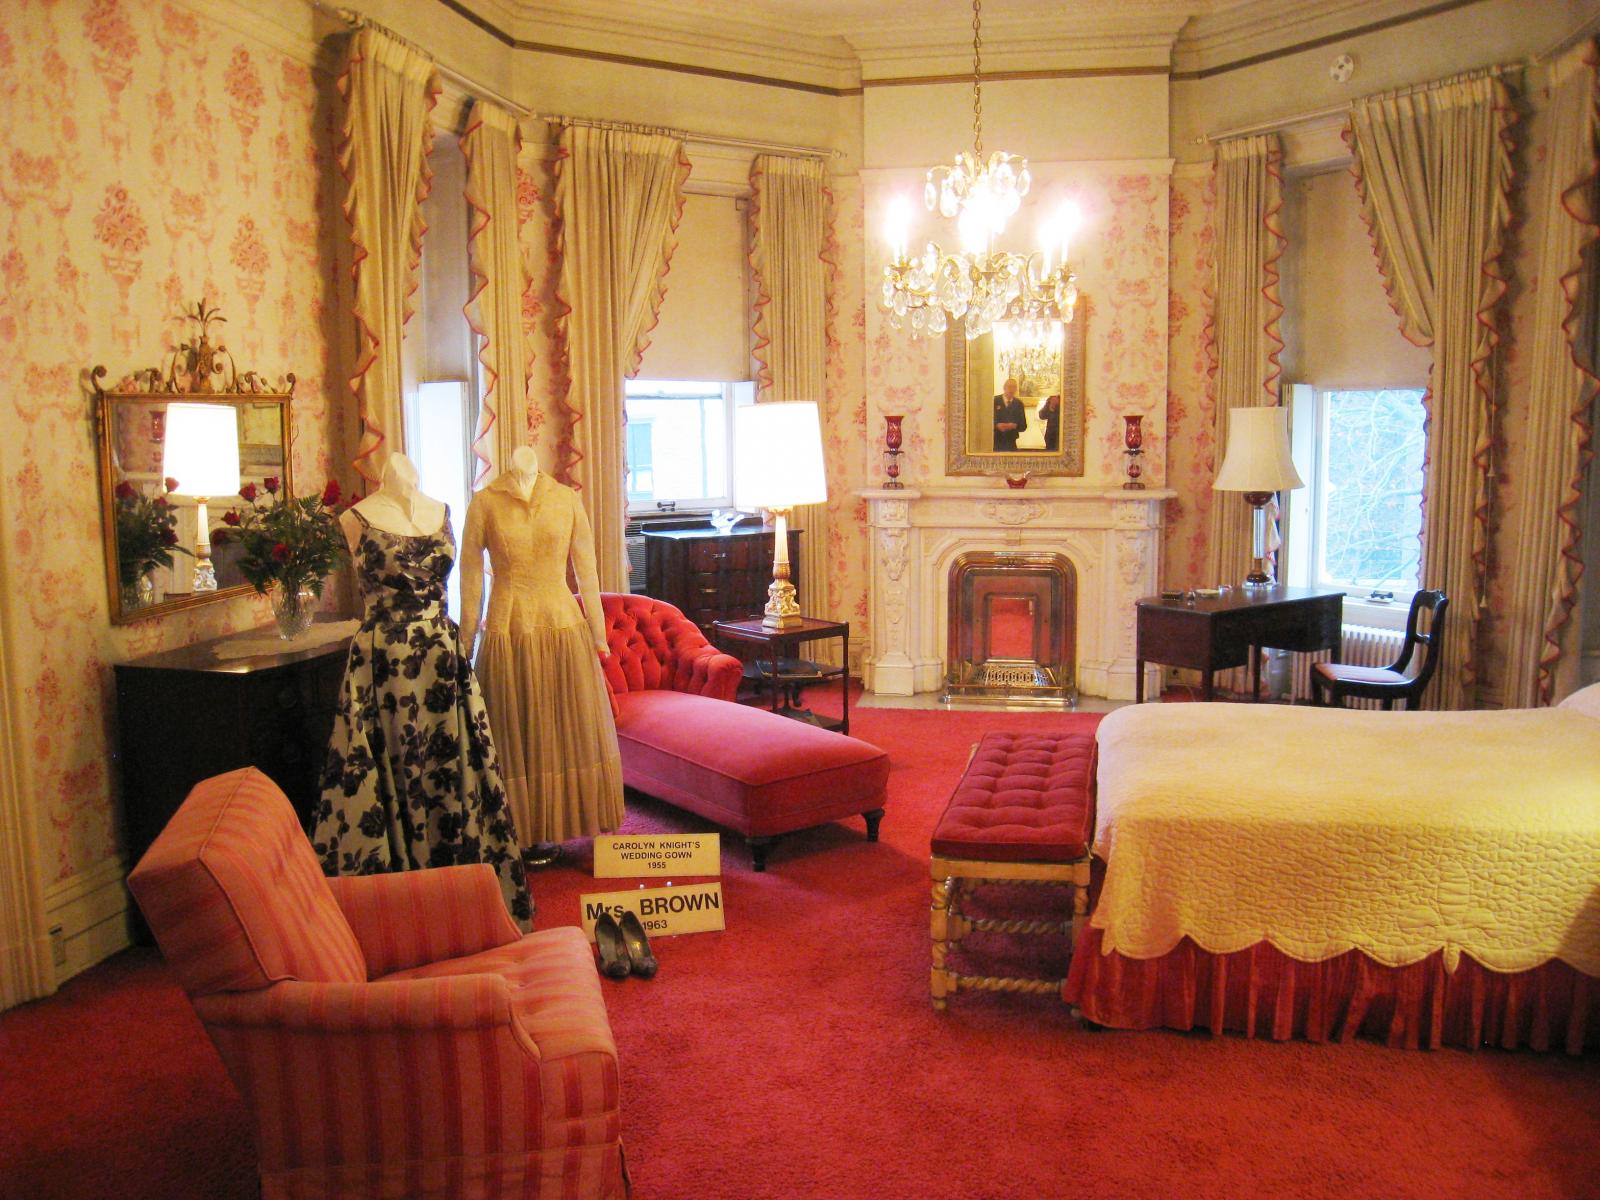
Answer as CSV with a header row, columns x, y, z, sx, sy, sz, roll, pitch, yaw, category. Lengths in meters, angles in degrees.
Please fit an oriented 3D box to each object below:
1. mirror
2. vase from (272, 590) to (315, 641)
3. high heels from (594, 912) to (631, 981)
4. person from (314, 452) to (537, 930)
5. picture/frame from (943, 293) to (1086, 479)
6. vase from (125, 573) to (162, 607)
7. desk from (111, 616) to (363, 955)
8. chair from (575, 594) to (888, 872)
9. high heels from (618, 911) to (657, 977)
x,y,z,sx,sy,sz,roll,pitch,yaw,category
-2.436,-0.388,5.230,1.048,0.894,0.045,-2,0,22,mirror
-2.122,0.062,5.478,0.187,0.209,0.186,1,-1,-2,vase
-0.709,1.304,4.799,0.100,0.106,0.265,-2,10,-21,high heels
-1.487,0.265,5.044,0.857,1.577,0.630,0,25,-8,person
1.401,-1.393,8.285,1.223,1.587,0.138,0,4,6,picture/frame
-2.621,-0.031,5.138,0.104,0.116,0.102,-4,14,-27,vase
-1.938,0.655,4.397,0.450,0.866,1.160,-1,13,-2,desk
-0.372,0.604,6.377,0.926,0.926,1.589,-6,10,-39,chair
-0.614,1.305,4.884,0.101,0.111,0.273,-1,39,-34,high heels
